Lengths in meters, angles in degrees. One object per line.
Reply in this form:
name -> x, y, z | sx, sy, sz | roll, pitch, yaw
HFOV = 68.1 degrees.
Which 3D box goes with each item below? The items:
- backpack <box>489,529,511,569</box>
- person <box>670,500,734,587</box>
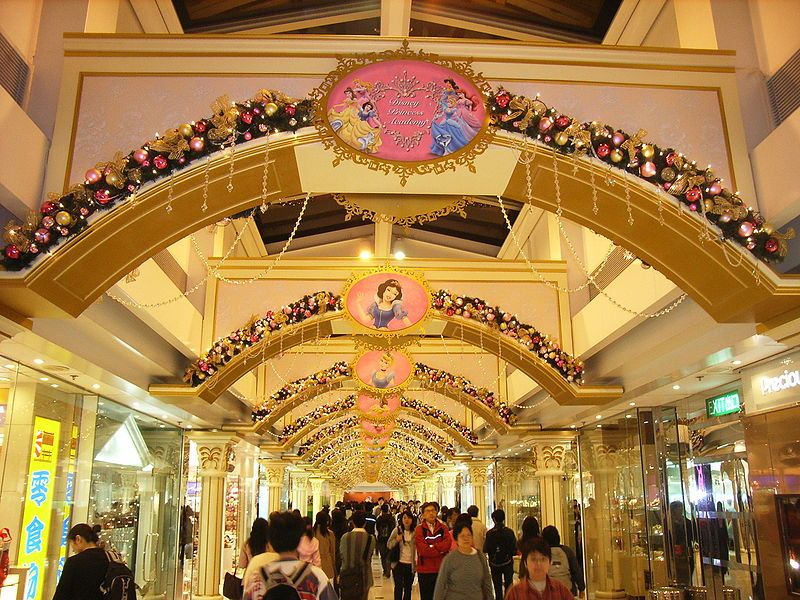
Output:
backpack -> 2.023, 4.856, 11.778 | 0.595, 0.750, 0.399 | -1, -8, 2
person -> 5.771, 4.589, 11.417 | 0.439, 1.542, 1.342 | 8, -27, -19
